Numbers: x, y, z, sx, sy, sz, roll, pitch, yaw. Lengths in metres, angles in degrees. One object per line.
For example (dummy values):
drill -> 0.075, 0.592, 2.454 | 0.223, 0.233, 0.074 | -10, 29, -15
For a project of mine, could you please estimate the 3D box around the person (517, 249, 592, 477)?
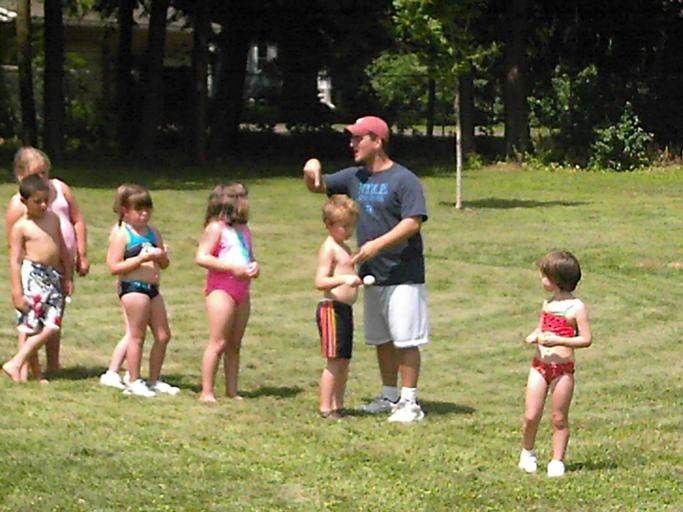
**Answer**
person -> 2.064, 1.022, 12.168 | 0.627, 2.115, 0.451 | 2, 6, 7

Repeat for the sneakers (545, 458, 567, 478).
sneakers -> 2.053, 2.035, 12.085 | 0.177, 0.170, 0.126 | -5, -6, 21

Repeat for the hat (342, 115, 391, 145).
hat -> 0.283, -1.345, 13.298 | 0.360, 0.167, 0.257 | 10, 8, -9

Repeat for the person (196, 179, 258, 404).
person -> -1.241, 0.380, 13.472 | 0.641, 2.310, 0.477 | 0, 6, -7

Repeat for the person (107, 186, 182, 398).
person -> -2.152, 0.360, 13.465 | 0.705, 2.228, 0.479 | 0, 7, -11

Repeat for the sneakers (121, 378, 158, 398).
sneakers -> -2.183, 1.418, 13.448 | 0.375, 0.162, 0.147 | 1, 0, 13

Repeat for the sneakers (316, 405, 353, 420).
sneakers -> -0.070, 1.634, 13.264 | 0.317, 0.130, 0.113 | -3, 6, 11

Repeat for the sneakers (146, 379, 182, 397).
sneakers -> -1.932, 1.414, 13.639 | 0.285, 0.111, 0.158 | 10, 31, -2

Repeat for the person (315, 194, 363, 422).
person -> -0.030, 0.517, 13.232 | 0.490, 2.313, 0.508 | 1, 6, 0

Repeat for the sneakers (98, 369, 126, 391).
sneakers -> -2.470, 1.326, 13.585 | 0.285, 0.171, 0.136 | 4, -7, -31

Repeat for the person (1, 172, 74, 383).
person -> -3.273, 0.223, 13.507 | 0.744, 2.190, 0.421 | -2, 7, -24

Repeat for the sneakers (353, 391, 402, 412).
sneakers -> 0.390, 1.557, 13.553 | 0.465, 0.177, 0.179 | -1, 2, -5
